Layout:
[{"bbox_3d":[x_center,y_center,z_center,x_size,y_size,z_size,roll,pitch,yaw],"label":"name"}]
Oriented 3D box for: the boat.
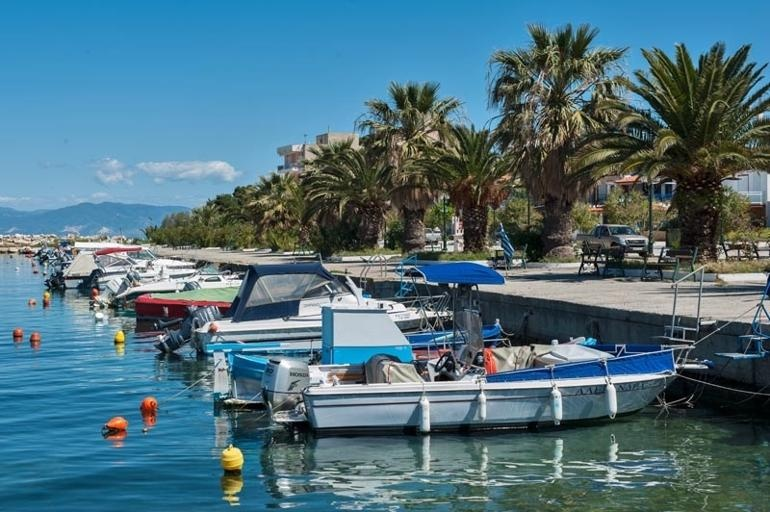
[{"bbox_3d":[1.878,2.457,26.093,10.458,4.604,3.478,0,-1,0],"label":"boat"}]
